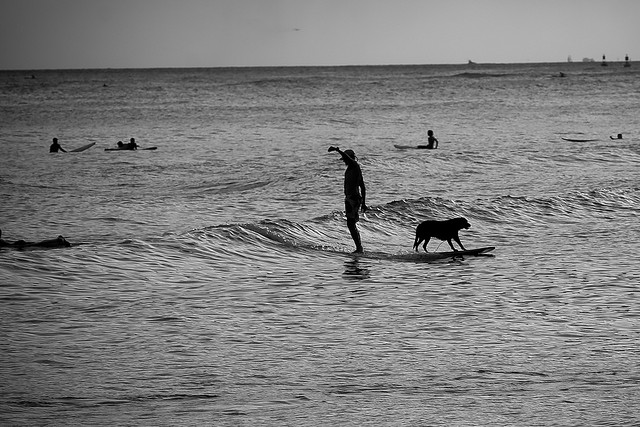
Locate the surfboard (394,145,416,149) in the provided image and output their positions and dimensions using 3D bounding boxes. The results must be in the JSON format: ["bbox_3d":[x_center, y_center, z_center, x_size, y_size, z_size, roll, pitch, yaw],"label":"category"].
[{"bbox_3d":[3.429,-2.676,51.501,0.230,0.155,1.177,-4,3,-31],"label":"surfboard"}]

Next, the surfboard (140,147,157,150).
[{"bbox_3d":[-7.069,-2.690,53.218,0.553,0.080,0.907,-1,11,1],"label":"surfboard"}]

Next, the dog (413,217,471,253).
[{"bbox_3d":[2.905,0.529,31.404,1.790,0.681,0.374,-5,8,-25],"label":"dog"}]
